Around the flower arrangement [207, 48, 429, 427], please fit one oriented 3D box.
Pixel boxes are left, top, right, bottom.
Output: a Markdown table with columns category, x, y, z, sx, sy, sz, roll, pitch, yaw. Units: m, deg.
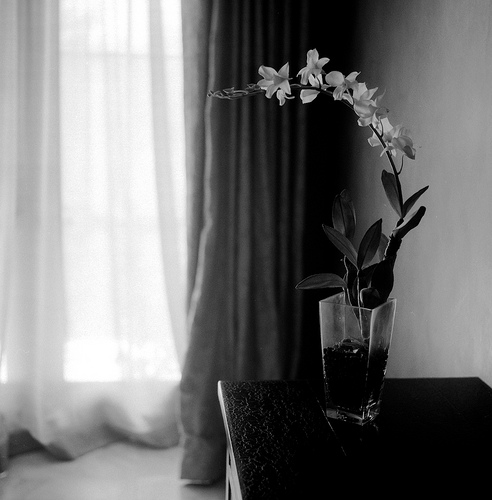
| category | x | y | z | sx | sy | sz | roll | pitch | yaw |
| --- | --- | --- | --- | --- | --- | --- | --- | --- | --- |
| flower arrangement | 0.185 | -0.051 | 1.139 | 0.371 | 0.699 | 0.342 | 2 | 10 | 22 |

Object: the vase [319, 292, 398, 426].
| category | x | y | z | sx | sy | sz | roll | pitch | yaw |
| --- | --- | --- | --- | --- | --- | --- | --- | --- | --- |
| vase | 0.221 | 0.204 | 1.062 | 0.145 | 0.223 | 0.160 | -2 | 10 | 3 |
